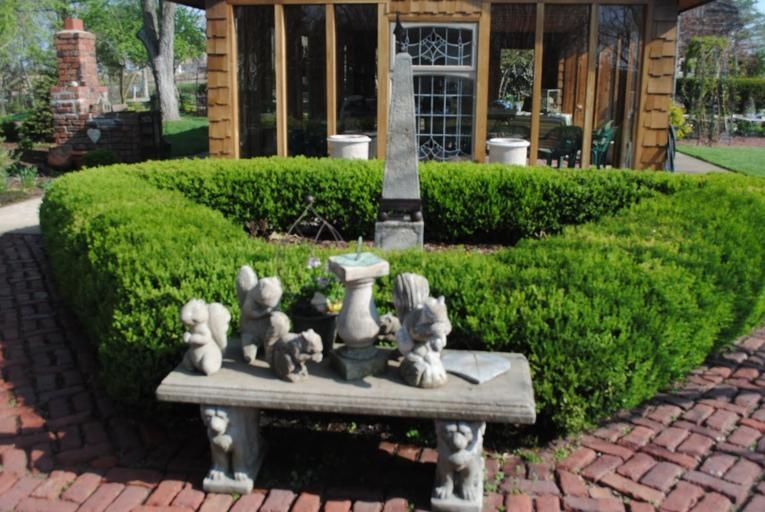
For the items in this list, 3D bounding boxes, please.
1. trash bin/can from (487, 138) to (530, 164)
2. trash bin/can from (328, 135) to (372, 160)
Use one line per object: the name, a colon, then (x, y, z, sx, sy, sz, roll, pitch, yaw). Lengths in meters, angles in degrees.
trash bin/can: (2.215, -1.870, 10.995, 0.513, 0.469, 0.582, -1, 15, -2)
trash bin/can: (-0.558, -1.927, 10.937, 0.576, 0.499, 0.628, -6, 18, -22)
